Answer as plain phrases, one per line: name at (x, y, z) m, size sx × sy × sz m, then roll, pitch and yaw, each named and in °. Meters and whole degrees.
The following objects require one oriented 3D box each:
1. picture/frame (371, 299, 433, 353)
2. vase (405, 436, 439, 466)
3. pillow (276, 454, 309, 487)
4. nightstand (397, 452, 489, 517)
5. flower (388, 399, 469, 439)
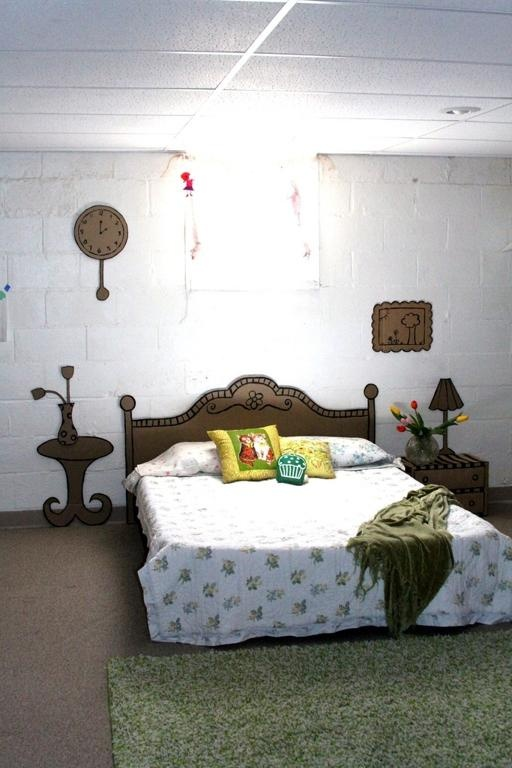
picture/frame at (0.966, -0.401, 4.878) m, size 0.401 × 0.304 × 0.029 m, roll 0°, pitch 0°, yaw -13°
vase at (1.059, 0.423, 4.656) m, size 0.193 × 0.165 × 0.190 m, roll -1°, pitch 1°, yaw -40°
pillow at (0.195, 0.483, 4.054) m, size 0.166 × 0.108 × 0.158 m, roll 6°, pitch -25°, yaw 0°
nightstand at (1.200, 0.601, 4.699) m, size 0.666 × 0.440 × 0.361 m, roll -1°, pitch 3°, yaw -14°
flower at (1.076, 0.251, 4.747) m, size 0.338 × 0.176 × 0.362 m, roll -1°, pitch 6°, yaw -8°
